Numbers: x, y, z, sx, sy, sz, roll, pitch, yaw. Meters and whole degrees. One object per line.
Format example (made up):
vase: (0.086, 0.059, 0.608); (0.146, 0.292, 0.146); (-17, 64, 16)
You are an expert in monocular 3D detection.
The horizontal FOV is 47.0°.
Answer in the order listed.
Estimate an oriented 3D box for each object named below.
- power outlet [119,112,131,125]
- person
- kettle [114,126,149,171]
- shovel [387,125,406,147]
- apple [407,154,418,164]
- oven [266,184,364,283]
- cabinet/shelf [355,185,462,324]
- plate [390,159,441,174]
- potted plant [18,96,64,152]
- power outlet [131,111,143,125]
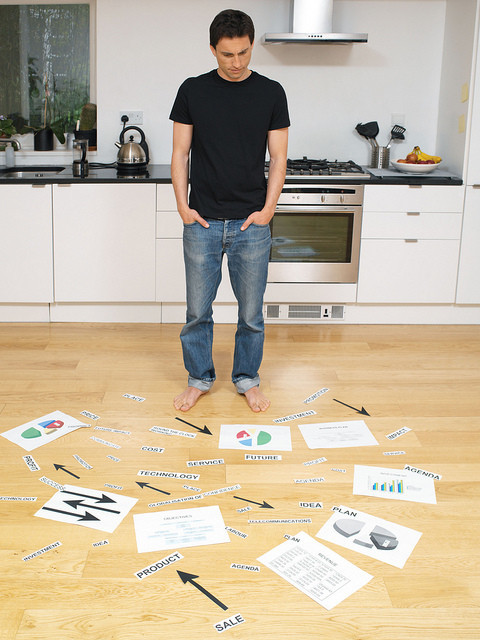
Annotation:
power outlet: (-0.748, -1.301, 3.591); (0.048, 0.067, 0.073); (-1, 13, -12)
person: (-0.057, -0.263, 2.122); (0.418, 1.286, 0.295); (-1, 13, -16)
kettle: (-0.645, -1.031, 3.310); (0.208, 0.243, 0.172); (1, 15, -1)
shovel: (1.033, -1.224, 3.662); (0.095, 0.167, 0.034); (10, 47, -8)
apple: (1.054, -0.981, 3.361); (0.049, 0.052, 0.061); (28, -3, -36)
oven: (0.341, -0.534, 3.427); (0.770, 0.705, 0.494); (-1, 16, 0)
cabinet/shelf: (1.102, -0.404, 3.501); (0.706, 0.762, 0.649); (2, -3, 33)
plate: (1.055, -0.925, 3.371); (0.281, 0.083, 0.247); (8, 14, 26)
potted plant: (-1.317, -1.328, 3.716); (0.340, 0.343, 0.325); (11, 14, 32)
power outlet: (-0.678, -1.331, 3.626); (0.077, 0.067, 0.038); (0, 10, -5)
